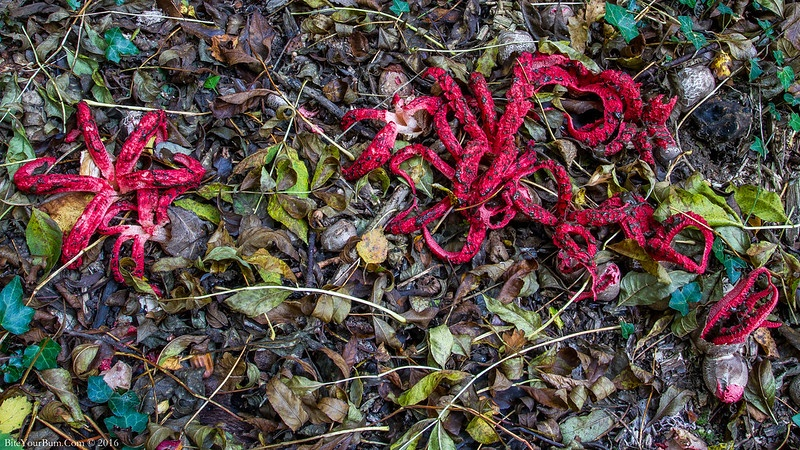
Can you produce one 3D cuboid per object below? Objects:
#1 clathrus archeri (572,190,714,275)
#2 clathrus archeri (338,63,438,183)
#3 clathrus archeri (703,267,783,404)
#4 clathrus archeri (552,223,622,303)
[{"bbox_3d":[1.273,-0.001,3.494,0.731,0.181,0.268,24,59,8],"label":"clathrus archeri"},{"bbox_3d":[-0.039,-0.521,3.565,0.360,0.202,0.558,25,65,-11],"label":"clathrus archeri"},{"bbox_3d":[1.781,0.621,3.497,0.418,0.257,0.729,1,54,44],"label":"clathrus archeri"},{"bbox_3d":[0.956,0.167,3.471,0.313,0.193,0.417,-1,96,15],"label":"clathrus archeri"}]
